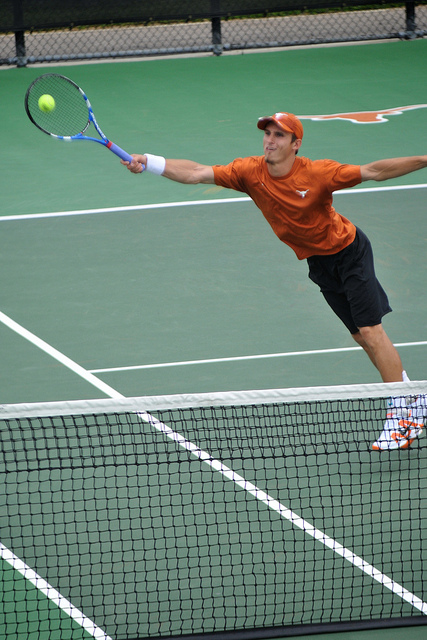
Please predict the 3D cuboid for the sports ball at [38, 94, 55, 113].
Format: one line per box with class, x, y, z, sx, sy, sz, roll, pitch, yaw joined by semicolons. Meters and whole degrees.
sports ball;-1.278;-1.642;4.841;0.116;0.124;0.199;-10;9;-12
